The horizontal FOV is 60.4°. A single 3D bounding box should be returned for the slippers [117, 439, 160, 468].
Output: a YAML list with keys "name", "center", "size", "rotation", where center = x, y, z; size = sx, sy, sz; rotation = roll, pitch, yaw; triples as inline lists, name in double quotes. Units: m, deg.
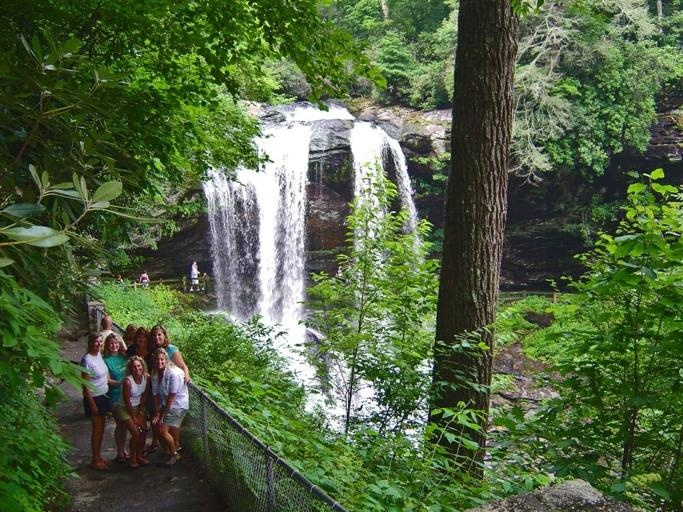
- name: "slippers"
  center: [-2.732, 2.563, 7.686]
  size: [0.301, 0.179, 0.452]
  rotation: [7, -7, -32]

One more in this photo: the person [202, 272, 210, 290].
- name: "person"
  center: [-6.847, 1.298, 29.532]
  size: [0.378, 0.751, 1.293]
  rotation: [0, 2, -14]

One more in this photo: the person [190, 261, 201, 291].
- name: "person"
  center: [-7.288, 0.939, 29.048]
  size: [0.456, 1.356, 2.553]
  rotation: [0, 2, -14]

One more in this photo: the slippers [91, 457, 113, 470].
- name: "slippers"
  center: [-3.064, 2.636, 7.487]
  size: [0.244, 0.232, 0.116]
  rotation: [6, -7, -5]
